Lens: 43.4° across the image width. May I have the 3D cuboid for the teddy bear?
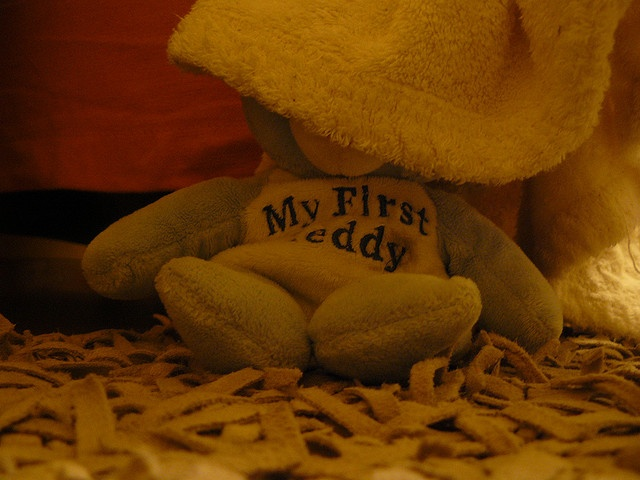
[{"bbox_3d":[0.022,-0.057,1.473,0.867,0.600,0.453,7,1,8],"label":"teddy bear"}]
